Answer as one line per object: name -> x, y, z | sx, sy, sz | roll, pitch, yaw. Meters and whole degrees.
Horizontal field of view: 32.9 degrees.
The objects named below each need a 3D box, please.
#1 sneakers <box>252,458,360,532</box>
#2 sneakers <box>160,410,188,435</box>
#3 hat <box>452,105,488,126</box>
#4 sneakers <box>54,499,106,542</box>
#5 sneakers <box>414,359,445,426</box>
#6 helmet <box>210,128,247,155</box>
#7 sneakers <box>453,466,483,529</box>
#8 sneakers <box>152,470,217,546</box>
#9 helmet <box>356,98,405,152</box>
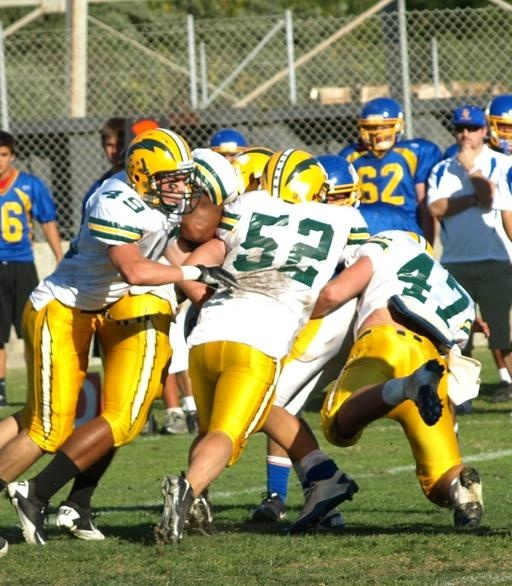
sneakers -> 0.213, 0.880, 3.718 | 0.120, 0.391, 0.202 | 55, 2, -42
sneakers -> -0.569, 0.927, 6.162 | 0.204, 0.141, 0.389 | 0, -4, -4
hat -> 1.534, -1.267, 6.218 | 0.183, 0.111, 0.227 | 1, 1, 16
sneakers -> -0.695, 0.915, 3.460 | 0.097, 0.110, 0.277 | 18, -9, 46
sneakers -> 0.623, 0.350, 3.018 | 0.099, 0.210, 0.114 | 2, -24, 16
helmet -> -0.219, -1.239, 7.136 | 0.344, 0.160, 0.399 | 3, 10, -2
sneakers -> 0.773, 0.768, 3.217 | 0.129, 0.203, 0.109 | -8, -25, 40
sneakers -> -0.241, 0.817, 3.175 | 0.163, 0.181, 0.401 | -2, -43, 14
helmet -> 0.895, -1.195, 6.145 | 0.383, 0.348, 0.406 | 1, 32, 22
